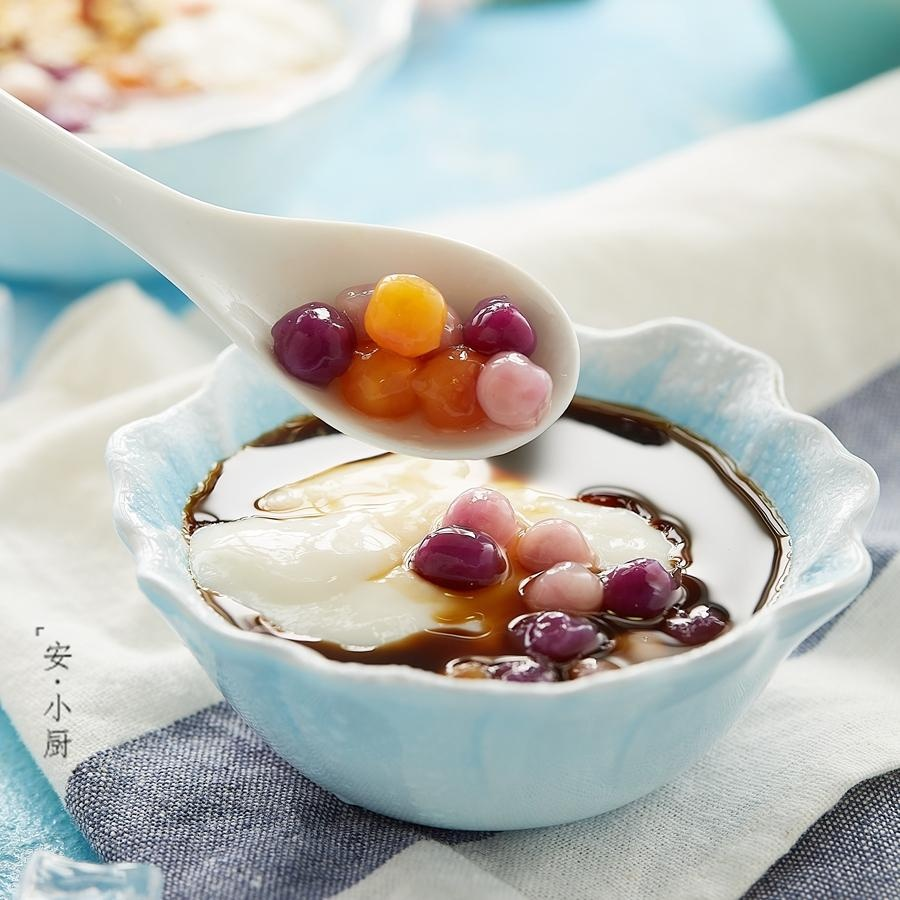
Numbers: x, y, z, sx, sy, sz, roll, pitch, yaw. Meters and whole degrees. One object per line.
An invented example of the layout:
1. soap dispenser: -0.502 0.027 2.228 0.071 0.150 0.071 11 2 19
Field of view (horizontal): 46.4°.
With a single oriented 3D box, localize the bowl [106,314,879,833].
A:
1. bowl: 0.065 0.062 1.128 0.803 0.286 0.660 -8 47 -10
